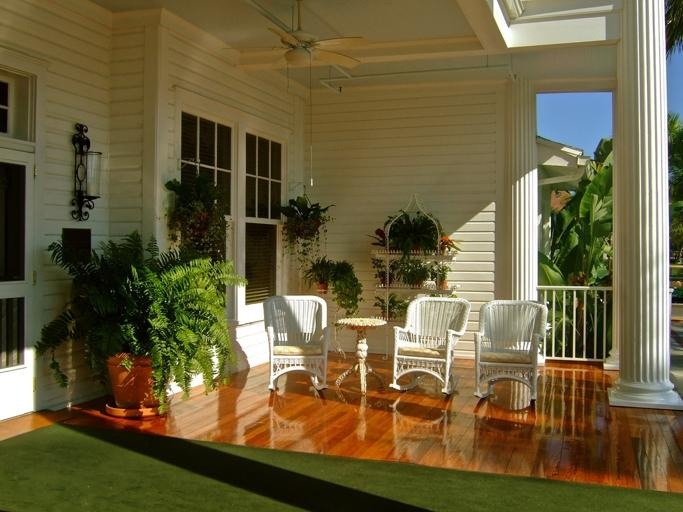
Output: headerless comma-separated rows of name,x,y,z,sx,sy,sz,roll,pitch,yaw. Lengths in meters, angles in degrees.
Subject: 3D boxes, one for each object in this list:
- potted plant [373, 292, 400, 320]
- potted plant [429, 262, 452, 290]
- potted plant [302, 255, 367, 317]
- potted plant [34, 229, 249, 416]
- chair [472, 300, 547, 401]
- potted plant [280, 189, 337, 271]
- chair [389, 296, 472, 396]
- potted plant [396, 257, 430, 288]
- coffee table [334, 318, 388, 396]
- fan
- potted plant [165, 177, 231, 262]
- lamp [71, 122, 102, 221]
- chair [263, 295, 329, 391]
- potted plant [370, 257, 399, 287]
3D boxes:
potted plant,0.715,0.776,7.791,0.359,0.312,0.372,0,-8,3
potted plant,1.472,0.316,7.673,0.408,0.435,0.355,1,-10,-1
potted plant,-0.070,0.475,8.011,0.908,0.922,0.584,2,2,44
potted plant,-1.896,0.617,4.882,1.745,1.710,0.915,0,2,-10
chair,1.969,1.054,5.808,0.712,1.044,0.965,1,2,24
potted plant,-0.550,-0.399,7.983,0.731,1.271,0.800,1,2,10
chair,1.060,1.051,6.032,0.894,1.053,0.979,1,2,15
potted plant,1.077,0.232,7.584,0.435,0.463,0.362,0,2,-1
coffee table,0.241,1.180,6.103,0.653,0.798,0.673,-6,-8,40
fan,-0.395,-2.149,5.158,1.075,0.617,1.247,3,3,9
potted plant,-1.629,-0.419,5.720,0.441,0.943,0.685,-6,-6,17
lamp,-2.674,-0.877,5.259,0.166,1.022,0.254,1,2,24
chair,-0.574,1.031,6.144,0.752,1.073,0.971,0,2,-9
potted plant,0.691,0.250,7.814,0.385,0.317,0.421,2,-5,5
